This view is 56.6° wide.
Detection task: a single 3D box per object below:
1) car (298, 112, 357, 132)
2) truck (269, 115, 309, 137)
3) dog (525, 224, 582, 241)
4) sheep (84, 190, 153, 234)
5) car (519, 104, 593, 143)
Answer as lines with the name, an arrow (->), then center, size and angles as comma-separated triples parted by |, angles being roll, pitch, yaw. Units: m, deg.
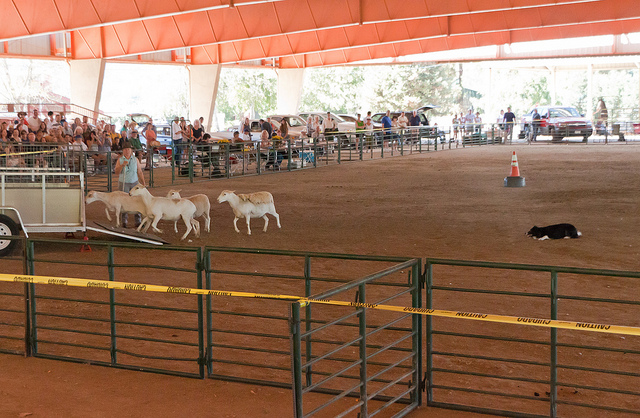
car -> 0.423, -5.346, 35.853 | 3.316, 1.377, 1.636 | -2, 8, -1
truck -> -1.407, -4.914, 34.357 | 1.472, 1.226, 2.478 | -8, 8, -36
dog -> 4.730, 0.437, 12.083 | 1.137, 0.318, 0.394 | 0, -1, 12
sheep -> -4.356, 0.005, 12.831 | 1.462, 0.740, 0.336 | 5, 2, -16
car -> 16.686, -6.204, 41.946 | 2.945, 1.998, 5.756 | -5, 12, -9
